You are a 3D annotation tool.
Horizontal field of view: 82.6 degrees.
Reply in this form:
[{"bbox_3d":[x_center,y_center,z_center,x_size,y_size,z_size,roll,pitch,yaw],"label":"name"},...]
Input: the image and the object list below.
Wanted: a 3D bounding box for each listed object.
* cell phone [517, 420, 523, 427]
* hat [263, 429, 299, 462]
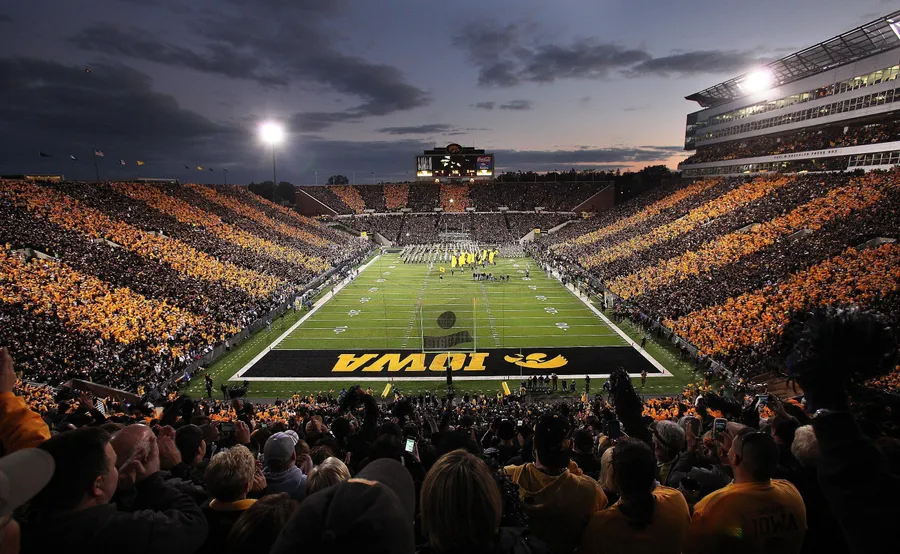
[{"bbox_3d":[1.505,3.140,11.057,0.121,0.096,0.060,0,-12,1],"label":"cell phone"},{"bbox_3d":[-2.471,2.486,7.680,0.470,0.288,0.621,3,19,7],"label":"hat"}]
